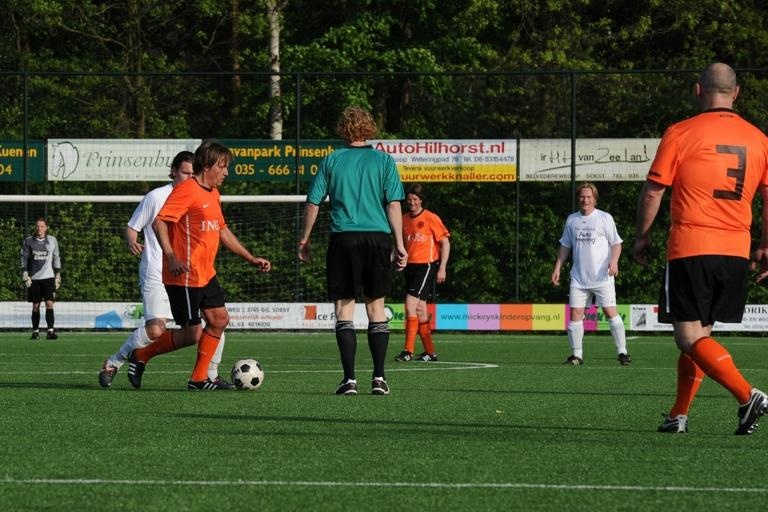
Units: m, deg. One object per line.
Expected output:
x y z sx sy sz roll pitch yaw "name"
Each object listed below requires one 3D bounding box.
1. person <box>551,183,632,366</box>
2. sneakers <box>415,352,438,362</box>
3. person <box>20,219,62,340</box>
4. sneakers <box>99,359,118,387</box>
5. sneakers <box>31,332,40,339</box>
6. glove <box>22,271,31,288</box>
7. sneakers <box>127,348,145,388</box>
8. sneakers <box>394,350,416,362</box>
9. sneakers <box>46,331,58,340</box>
3.861 0.363 27.942 1.269 3.370 0.972 -3 8 -14 "person"
0.815 1.947 28.500 0.426 0.188 0.146 6 -7 -6 "sneakers"
-7.588 0.517 33.173 0.809 2.657 1.225 -3 8 -14 "person"
-4.595 1.985 25.073 0.254 0.574 0.203 -2 -20 15 "sneakers"
-7.627 1.776 32.800 0.153 0.204 0.150 3 -17 -11 "sneakers"
-7.790 0.518 32.726 0.166 0.377 0.350 -3 8 -17 "glove"
-4.161 1.876 24.885 0.286 0.662 0.239 -6 -4 37 "sneakers"
0.393 1.938 28.503 0.388 0.182 0.139 6 -7 -27 "sneakers"
-7.334 1.760 33.039 0.138 0.154 0.353 2 5 -4 "sneakers"
